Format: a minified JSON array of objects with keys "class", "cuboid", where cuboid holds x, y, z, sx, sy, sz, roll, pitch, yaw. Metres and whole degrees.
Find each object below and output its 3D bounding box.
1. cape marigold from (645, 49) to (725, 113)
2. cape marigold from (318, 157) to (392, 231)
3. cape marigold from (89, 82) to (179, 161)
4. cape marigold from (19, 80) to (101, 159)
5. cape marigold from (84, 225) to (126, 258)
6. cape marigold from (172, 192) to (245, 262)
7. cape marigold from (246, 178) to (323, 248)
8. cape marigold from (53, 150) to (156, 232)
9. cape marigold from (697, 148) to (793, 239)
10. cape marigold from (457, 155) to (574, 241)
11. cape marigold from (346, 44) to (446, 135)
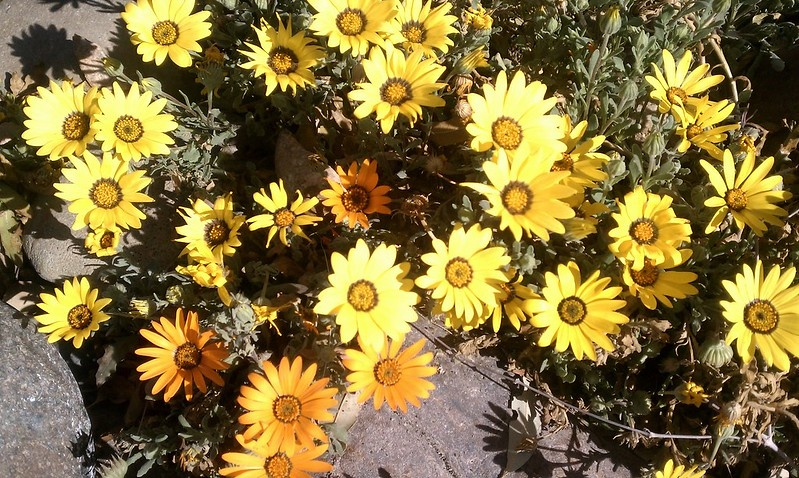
[{"class":"cape marigold","cuboid":[1.507,-0.793,3.407,0.410,0.415,0.162,10,-10,-5]},{"class":"cape marigold","cuboid":[-0.214,-0.283,3.534,0.347,0.354,0.117,18,56,-6]},{"class":"cape marigold","cuboid":[-1.464,-0.640,3.529,0.432,0.156,0.432,-33,95,-15]},{"class":"cape marigold","cuboid":[-1.826,-0.653,3.463,0.429,0.428,0.180,2,4,-5]},{"class":"cape marigold","cuboid":[-1.679,0.007,3.591,0.205,0.202,0.085,-10,9,-6]},{"class":"cape marigold","cuboid":[-1.040,-0.069,3.469,0.322,0.373,0.417,5,41,-23]},{"class":"cape marigold","cuboid":[-0.621,-0.159,3.466,0.400,0.402,0.159,-16,11,0]},{"class":"cape marigold","cuboid":[-1.599,-0.283,3.504,0.394,0.405,0.142,-9,53,14]},{"class":"cape marigold","cuboid":[1.781,-0.236,3.322,0.419,0.367,0.377,-3,45,-31]},{"class":"cape marigold","cuboid":[0.603,-0.224,3.332,0.472,0.460,0.180,42,-7,-6]},{"class":"cape marigold","cuboid":[-0.029,-0.766,3.301,0.464,0.470,0.167,51,-3,-7]}]
